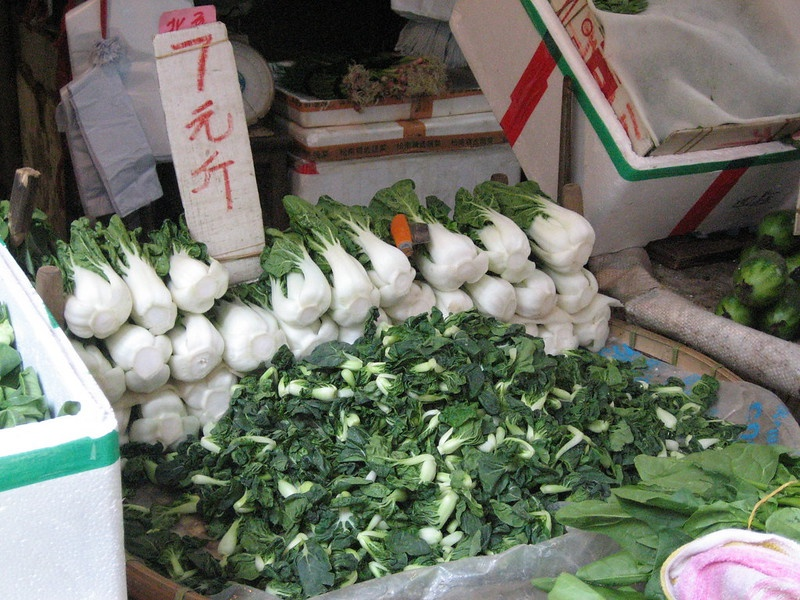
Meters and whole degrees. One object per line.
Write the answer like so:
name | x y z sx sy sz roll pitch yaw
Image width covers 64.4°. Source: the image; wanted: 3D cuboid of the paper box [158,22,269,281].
paper box | -1.140 -0.842 3.885 0.440 1.349 0.723 -12 51 -16

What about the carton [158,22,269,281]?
carton | -1.140 -0.842 3.885 0.440 1.349 0.723 -12 51 -16
